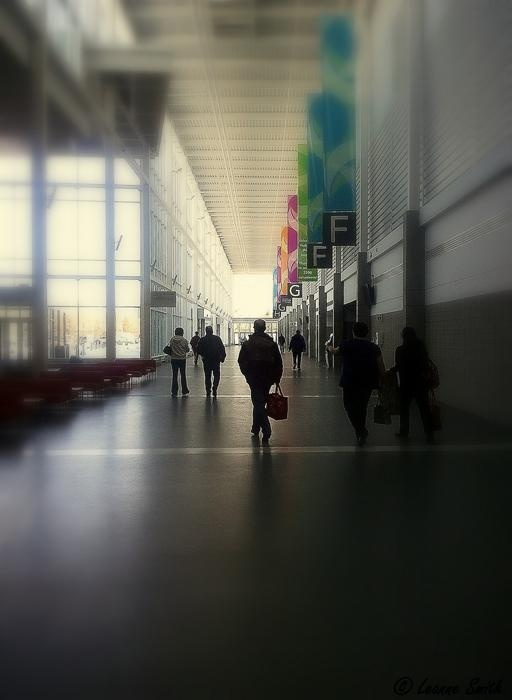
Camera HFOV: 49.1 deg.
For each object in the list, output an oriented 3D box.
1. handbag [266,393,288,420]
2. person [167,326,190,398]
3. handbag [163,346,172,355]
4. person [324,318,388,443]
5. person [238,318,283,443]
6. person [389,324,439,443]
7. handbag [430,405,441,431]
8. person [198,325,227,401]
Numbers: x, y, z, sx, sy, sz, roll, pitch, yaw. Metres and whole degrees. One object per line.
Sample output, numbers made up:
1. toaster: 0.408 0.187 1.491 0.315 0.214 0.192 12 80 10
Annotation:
1. handbag: 0.276 0.773 7.726 0.143 0.561 0.286 -5 7 -41
2. person: -2.281 0.264 16.408 0.610 1.976 3.629 0 -1 -8
3. handbag: -2.400 -0.003 15.278 0.045 0.272 0.185 5 4 37
4. person: 1.288 0.406 7.105 0.649 1.521 0.695 0 -1 10
5. person: 0.052 0.424 8.026 0.593 1.791 0.972 0 -1 0
6. person: 1.953 0.390 6.862 0.383 1.348 0.895 1 -1 -25
7. handbag: 2.181 0.818 6.787 0.057 0.337 0.178 0 -5 5
8. person: -1.207 0.180 15.122 0.591 2.272 0.700 -2 38 -4
